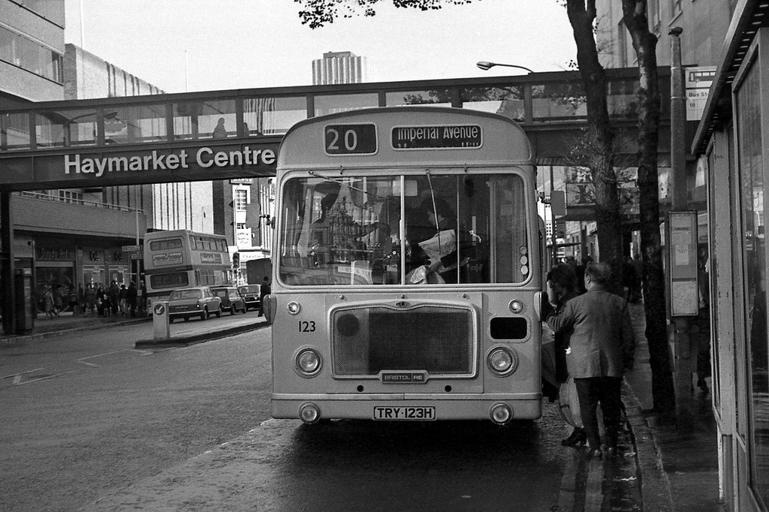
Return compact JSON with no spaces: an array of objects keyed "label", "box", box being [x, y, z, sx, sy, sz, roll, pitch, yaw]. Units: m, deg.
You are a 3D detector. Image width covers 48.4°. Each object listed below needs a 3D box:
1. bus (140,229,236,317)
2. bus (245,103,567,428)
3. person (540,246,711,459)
[{"label":"bus","box":[-11.863,0.719,47.055,3.282,5.156,9.544,-2,-3,9]},{"label":"bus","box":[0.456,1.049,14.389,3.555,4.567,7.143,-1,-14,2]},{"label":"person","box":[2.771,1.326,11.306,1.063,2.530,1.569,-1,4,16]}]
